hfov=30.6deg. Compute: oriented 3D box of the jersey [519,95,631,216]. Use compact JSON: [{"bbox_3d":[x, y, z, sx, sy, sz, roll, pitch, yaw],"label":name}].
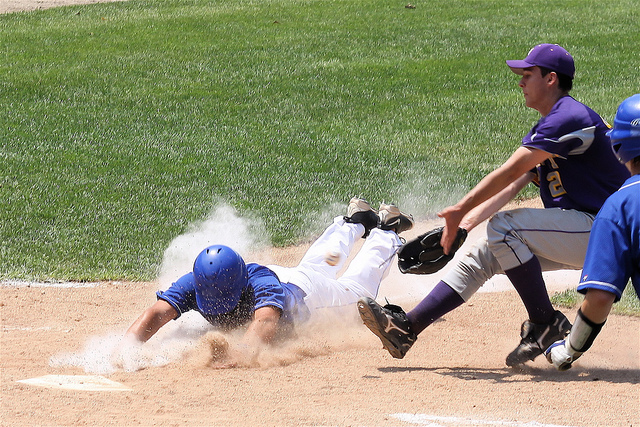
[{"bbox_3d":[3.347,-0.761,15.452,1.363,1.686,1.182,-2,13,1],"label":"jersey"}]
